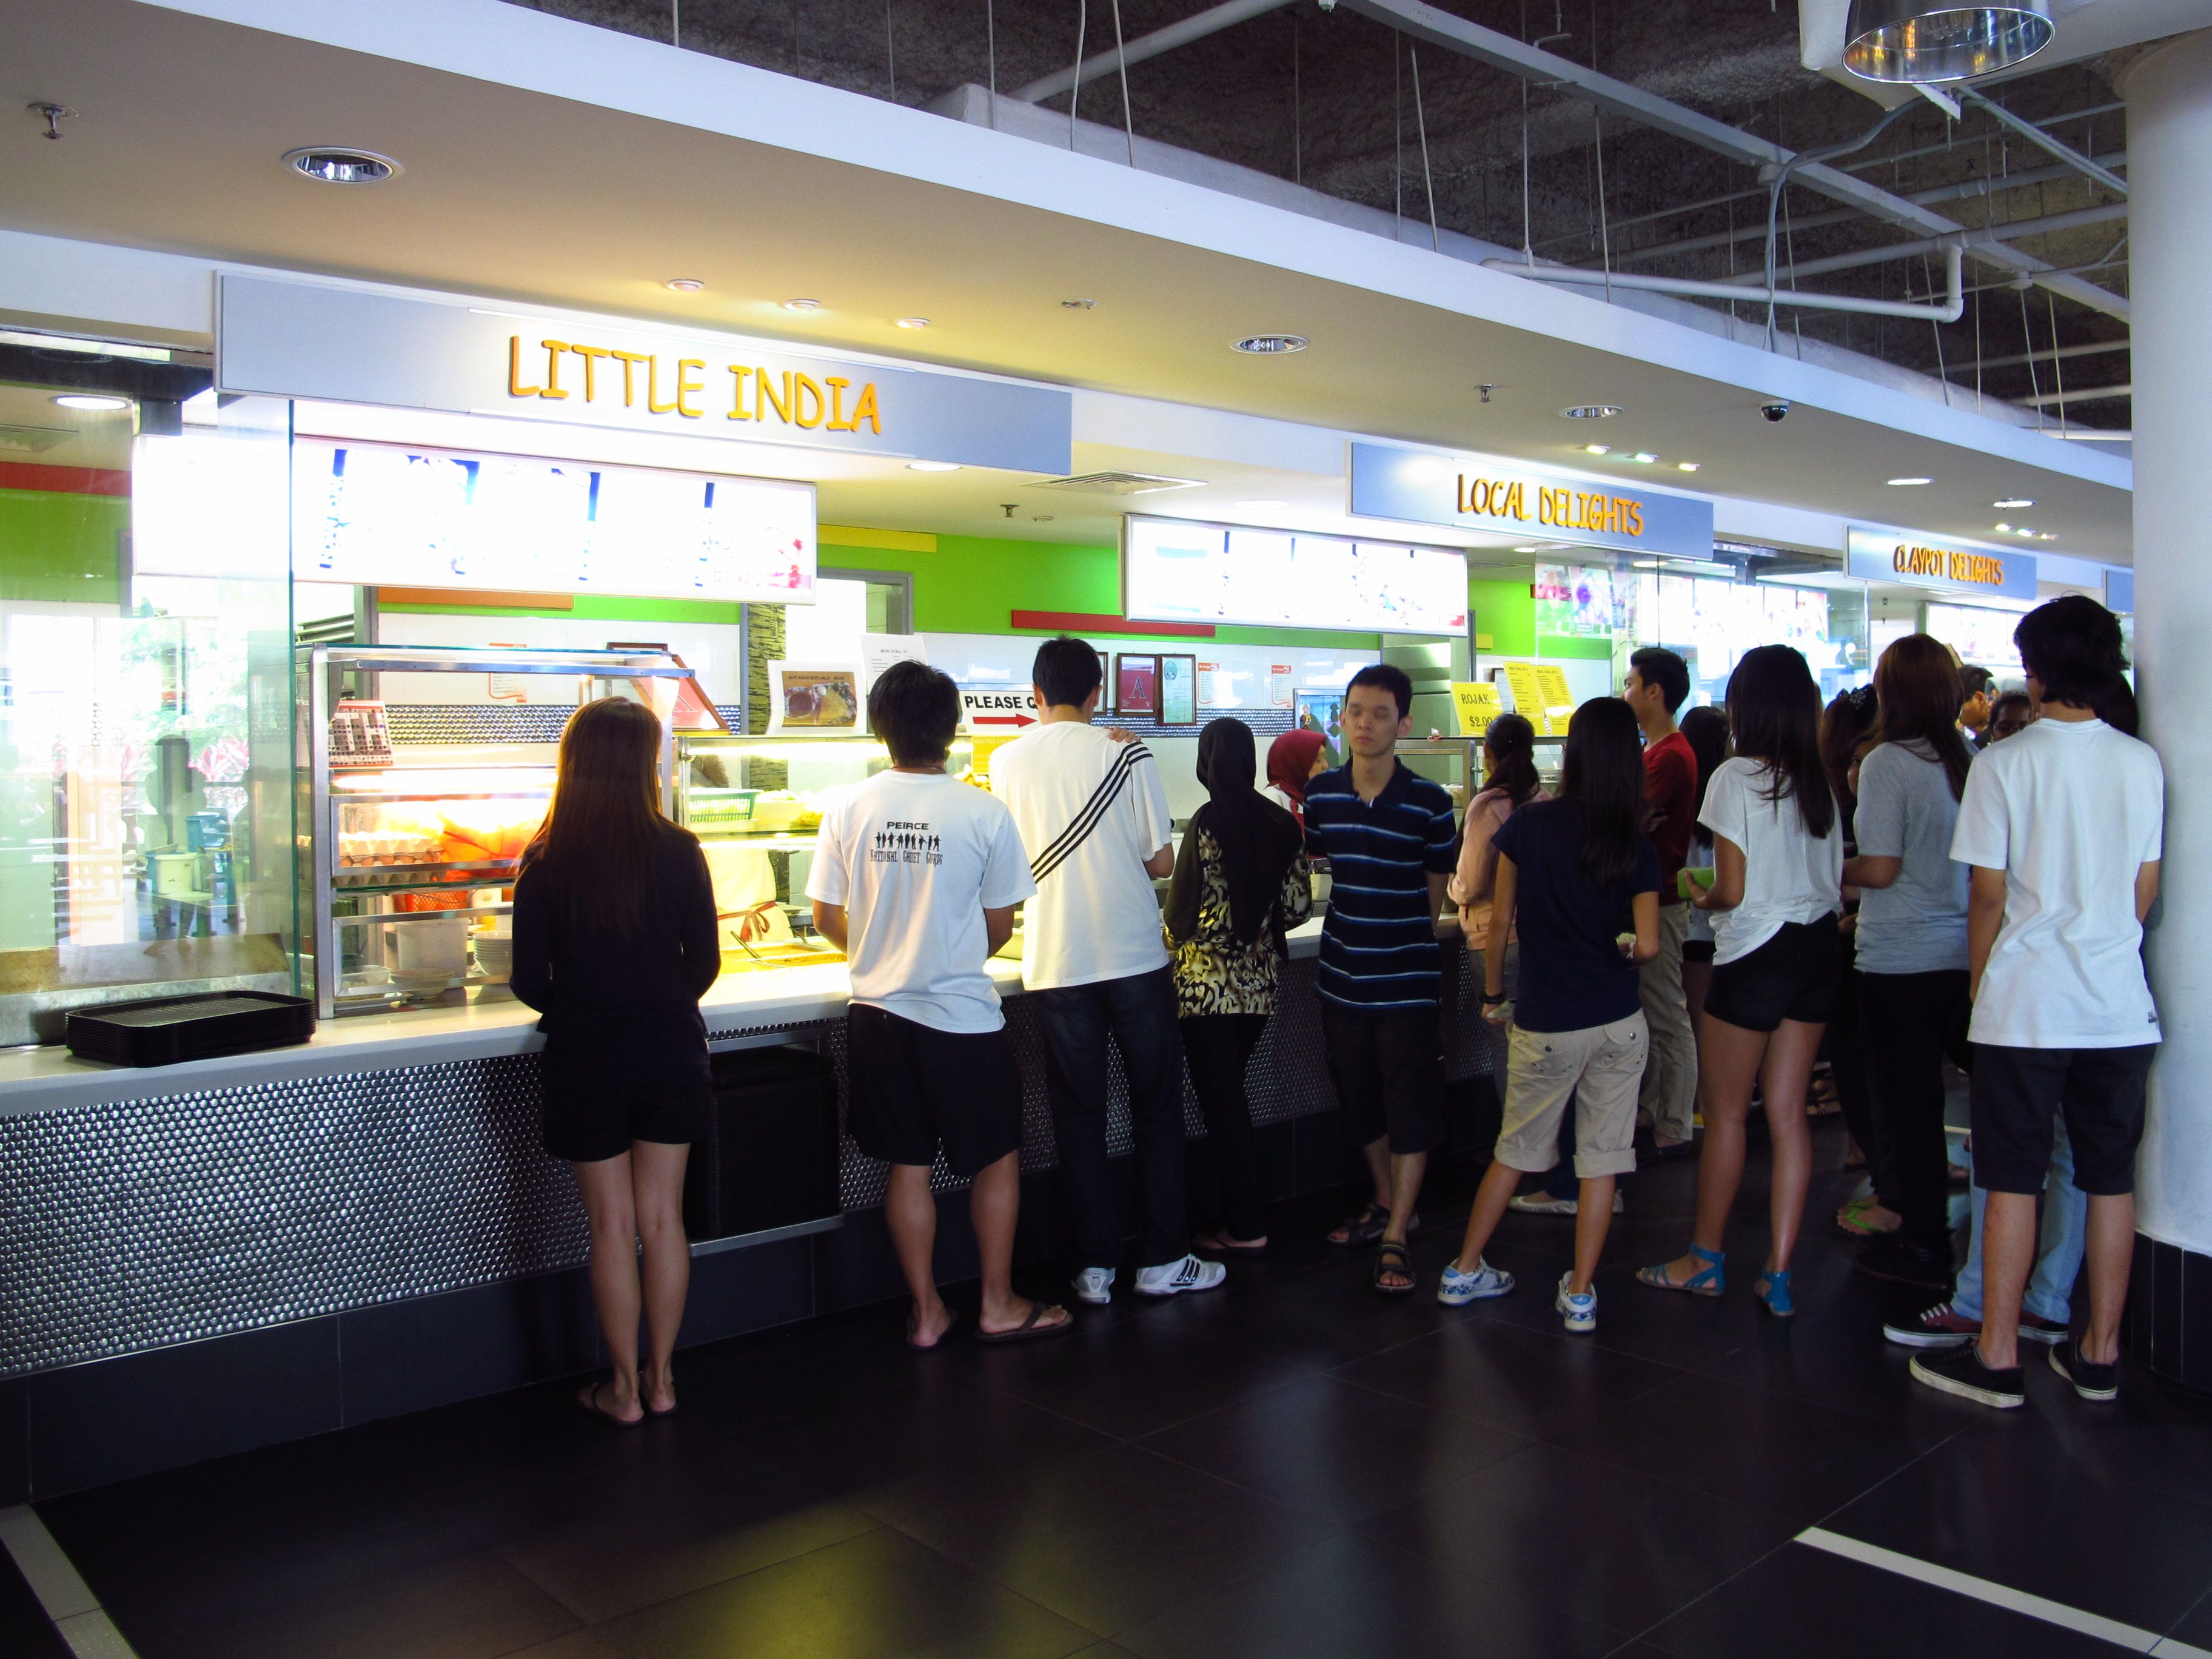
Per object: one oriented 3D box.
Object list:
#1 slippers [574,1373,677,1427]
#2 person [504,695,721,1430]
[{"bbox_3d":[-1.217,1.419,4.065,0.094,0.121,0.275,6,5,-44],"label":"slippers"},{"bbox_3d":[-1.211,0.580,3.984,0.478,1.788,0.225,-3,8,-22],"label":"person"}]
